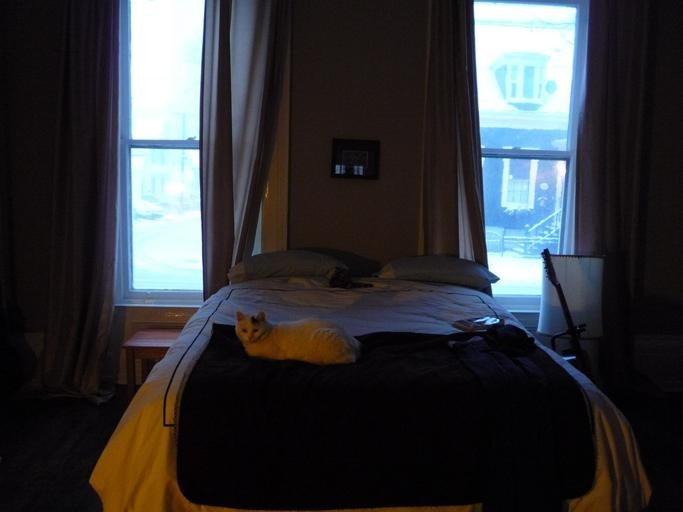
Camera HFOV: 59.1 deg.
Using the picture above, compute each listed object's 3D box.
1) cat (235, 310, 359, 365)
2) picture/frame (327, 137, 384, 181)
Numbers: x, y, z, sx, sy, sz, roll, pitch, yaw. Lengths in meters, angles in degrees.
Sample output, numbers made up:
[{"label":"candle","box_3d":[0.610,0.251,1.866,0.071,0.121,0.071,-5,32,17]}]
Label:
[{"label":"cat","box_3d":[-0.215,0.391,2.826,0.428,0.180,0.285,4,4,10]},{"label":"picture/frame","box_3d":[0.084,-0.731,4.505,0.305,0.269,0.027,1,1,-4]}]
